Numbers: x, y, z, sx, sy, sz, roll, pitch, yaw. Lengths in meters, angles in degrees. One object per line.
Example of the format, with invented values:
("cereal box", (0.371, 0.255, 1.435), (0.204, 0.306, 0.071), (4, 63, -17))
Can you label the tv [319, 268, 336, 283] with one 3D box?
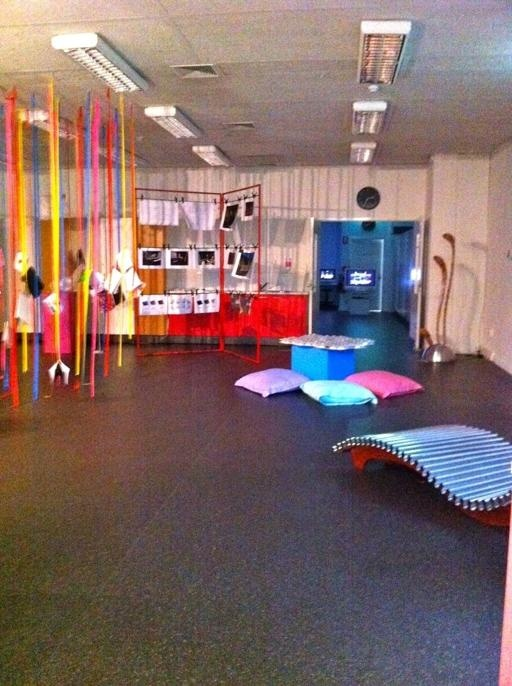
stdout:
("tv", (2.947, -2.699, 20.473), (0.620, 0.508, 0.366), (1, 5, 9))

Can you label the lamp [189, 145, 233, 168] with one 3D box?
("lamp", (-0.796, -3.359, 9.155), (0.607, 0.221, 1.765), (0, 5, 0))

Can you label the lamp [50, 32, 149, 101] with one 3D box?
("lamp", (-1.470, -2.473, 4.729), (0.280, 0.097, 0.985), (6, 1, 5))

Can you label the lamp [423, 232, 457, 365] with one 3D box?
("lamp", (3.205, -0.822, 8.777), (0.502, 2.229, 1.394), (2, 5, 20))

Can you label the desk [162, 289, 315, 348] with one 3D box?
("desk", (-0.149, -0.539, 9.981), (2.433, 0.867, 0.461), (1, 5, 0))
